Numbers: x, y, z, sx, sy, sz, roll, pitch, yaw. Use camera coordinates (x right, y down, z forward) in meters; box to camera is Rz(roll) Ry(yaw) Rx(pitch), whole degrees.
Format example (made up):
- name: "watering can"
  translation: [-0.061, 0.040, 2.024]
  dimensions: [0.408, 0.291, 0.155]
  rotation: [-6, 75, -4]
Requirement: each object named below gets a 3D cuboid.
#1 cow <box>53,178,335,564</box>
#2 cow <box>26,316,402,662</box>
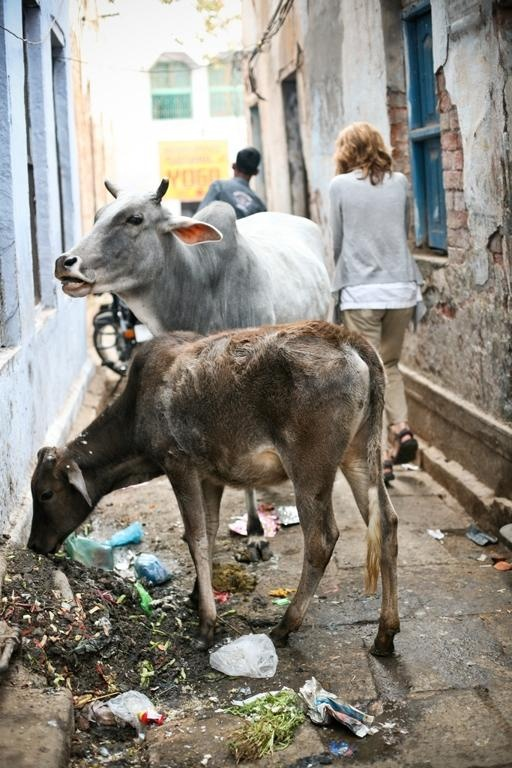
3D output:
- name: "cow"
  translation: [-0.291, -0.201, 5.369]
  dimensions: [0.862, 1.810, 2.731]
  rotation: [11, 14, 26]
- name: "cow"
  translation: [-0.252, 0.484, 3.795]
  dimensions: [1.786, 1.290, 0.466]
  rotation: [-6, -8, 30]
